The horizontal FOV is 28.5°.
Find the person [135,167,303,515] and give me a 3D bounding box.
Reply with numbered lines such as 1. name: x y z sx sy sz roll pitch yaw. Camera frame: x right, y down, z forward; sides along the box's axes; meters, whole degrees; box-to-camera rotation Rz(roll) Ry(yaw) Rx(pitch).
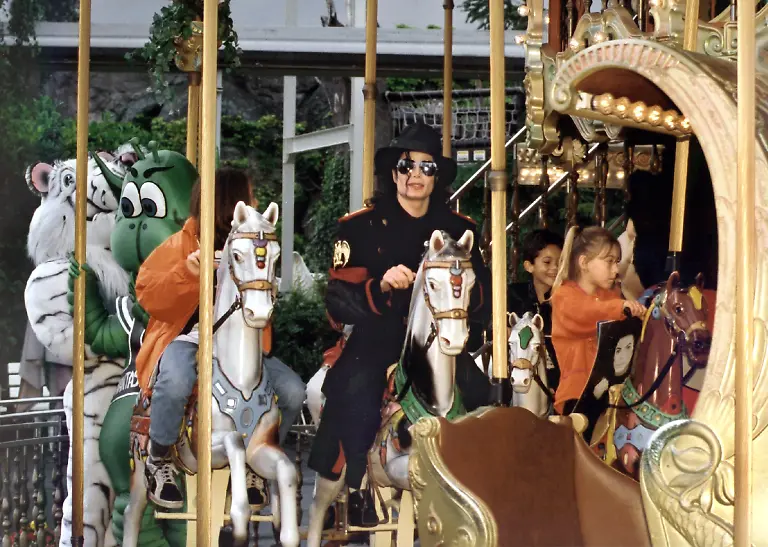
1. person: -1.182 0.423 10.558 1.107 2.474 1.148 1 12 -14
